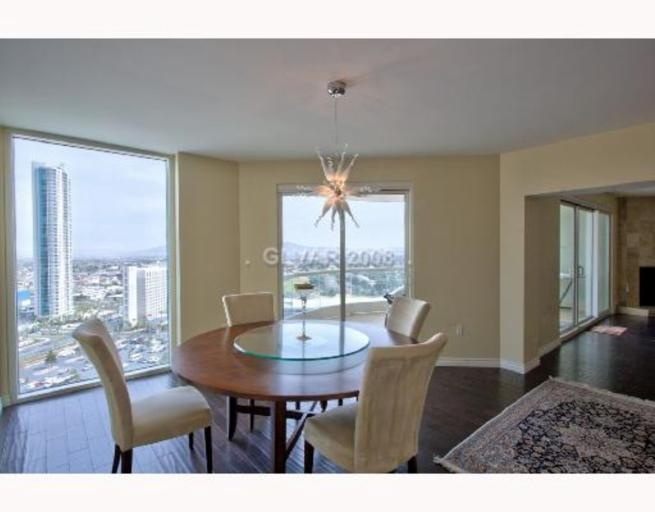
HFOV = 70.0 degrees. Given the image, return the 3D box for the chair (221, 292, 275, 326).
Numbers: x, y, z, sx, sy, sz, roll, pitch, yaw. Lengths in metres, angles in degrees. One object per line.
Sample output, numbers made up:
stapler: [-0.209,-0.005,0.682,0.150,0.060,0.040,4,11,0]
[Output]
chair: [-0.701,0.467,4.133,0.309,0.423,0.348,2,-8,-23]
